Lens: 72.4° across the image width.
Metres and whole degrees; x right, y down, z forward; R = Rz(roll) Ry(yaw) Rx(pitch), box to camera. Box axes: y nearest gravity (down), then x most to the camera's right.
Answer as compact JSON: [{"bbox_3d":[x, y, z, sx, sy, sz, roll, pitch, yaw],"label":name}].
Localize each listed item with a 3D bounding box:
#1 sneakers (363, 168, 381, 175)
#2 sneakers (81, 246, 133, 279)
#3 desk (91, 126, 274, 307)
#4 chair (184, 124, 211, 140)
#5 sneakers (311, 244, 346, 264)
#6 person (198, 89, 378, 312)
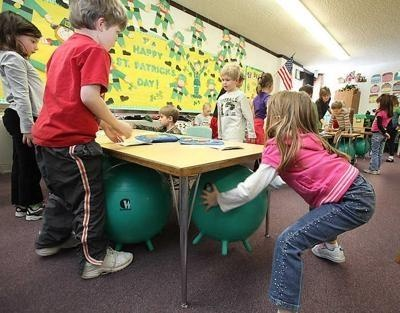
[{"bbox_3d":[2.750,0.249,4.384,0.098,0.116,0.243,-7,13,-35],"label":"sneakers"},{"bbox_3d":[-0.581,0.640,1.732,0.294,0.144,0.117,-6,10,-31],"label":"sneakers"},{"bbox_3d":[0.007,0.305,1.791,0.903,0.592,0.921,5,6,41],"label":"desk"},{"bbox_3d":[-0.016,-0.226,2.690,0.164,0.226,0.183,2,2,18],"label":"chair"},{"bbox_3d":[0.894,0.661,1.936,0.213,0.104,0.095,9,5,41],"label":"sneakers"},{"bbox_3d":[0.511,0.227,1.547,0.608,1.159,0.652,-7,17,-32],"label":"person"}]
